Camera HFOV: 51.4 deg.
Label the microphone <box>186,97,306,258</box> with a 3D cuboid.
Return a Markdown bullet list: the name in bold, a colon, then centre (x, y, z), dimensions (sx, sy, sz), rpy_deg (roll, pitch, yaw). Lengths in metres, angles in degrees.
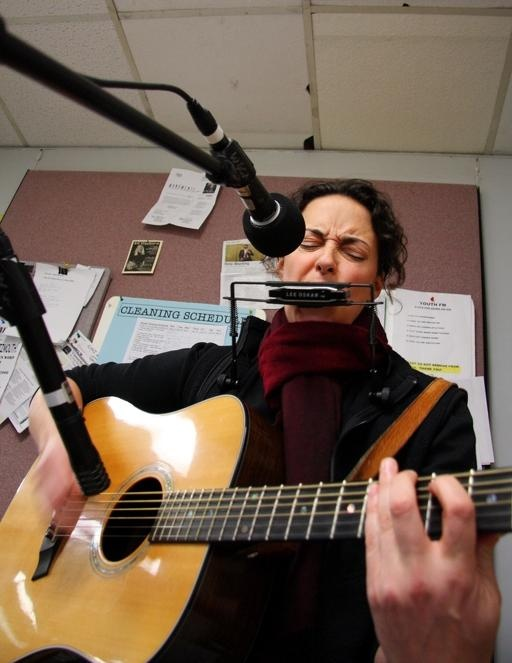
- **microphone**: centre (0.003, -0.187, 0.748), dimensions (0.090, 0.284, 0.081), rpy_deg (-11, 59, 21)
